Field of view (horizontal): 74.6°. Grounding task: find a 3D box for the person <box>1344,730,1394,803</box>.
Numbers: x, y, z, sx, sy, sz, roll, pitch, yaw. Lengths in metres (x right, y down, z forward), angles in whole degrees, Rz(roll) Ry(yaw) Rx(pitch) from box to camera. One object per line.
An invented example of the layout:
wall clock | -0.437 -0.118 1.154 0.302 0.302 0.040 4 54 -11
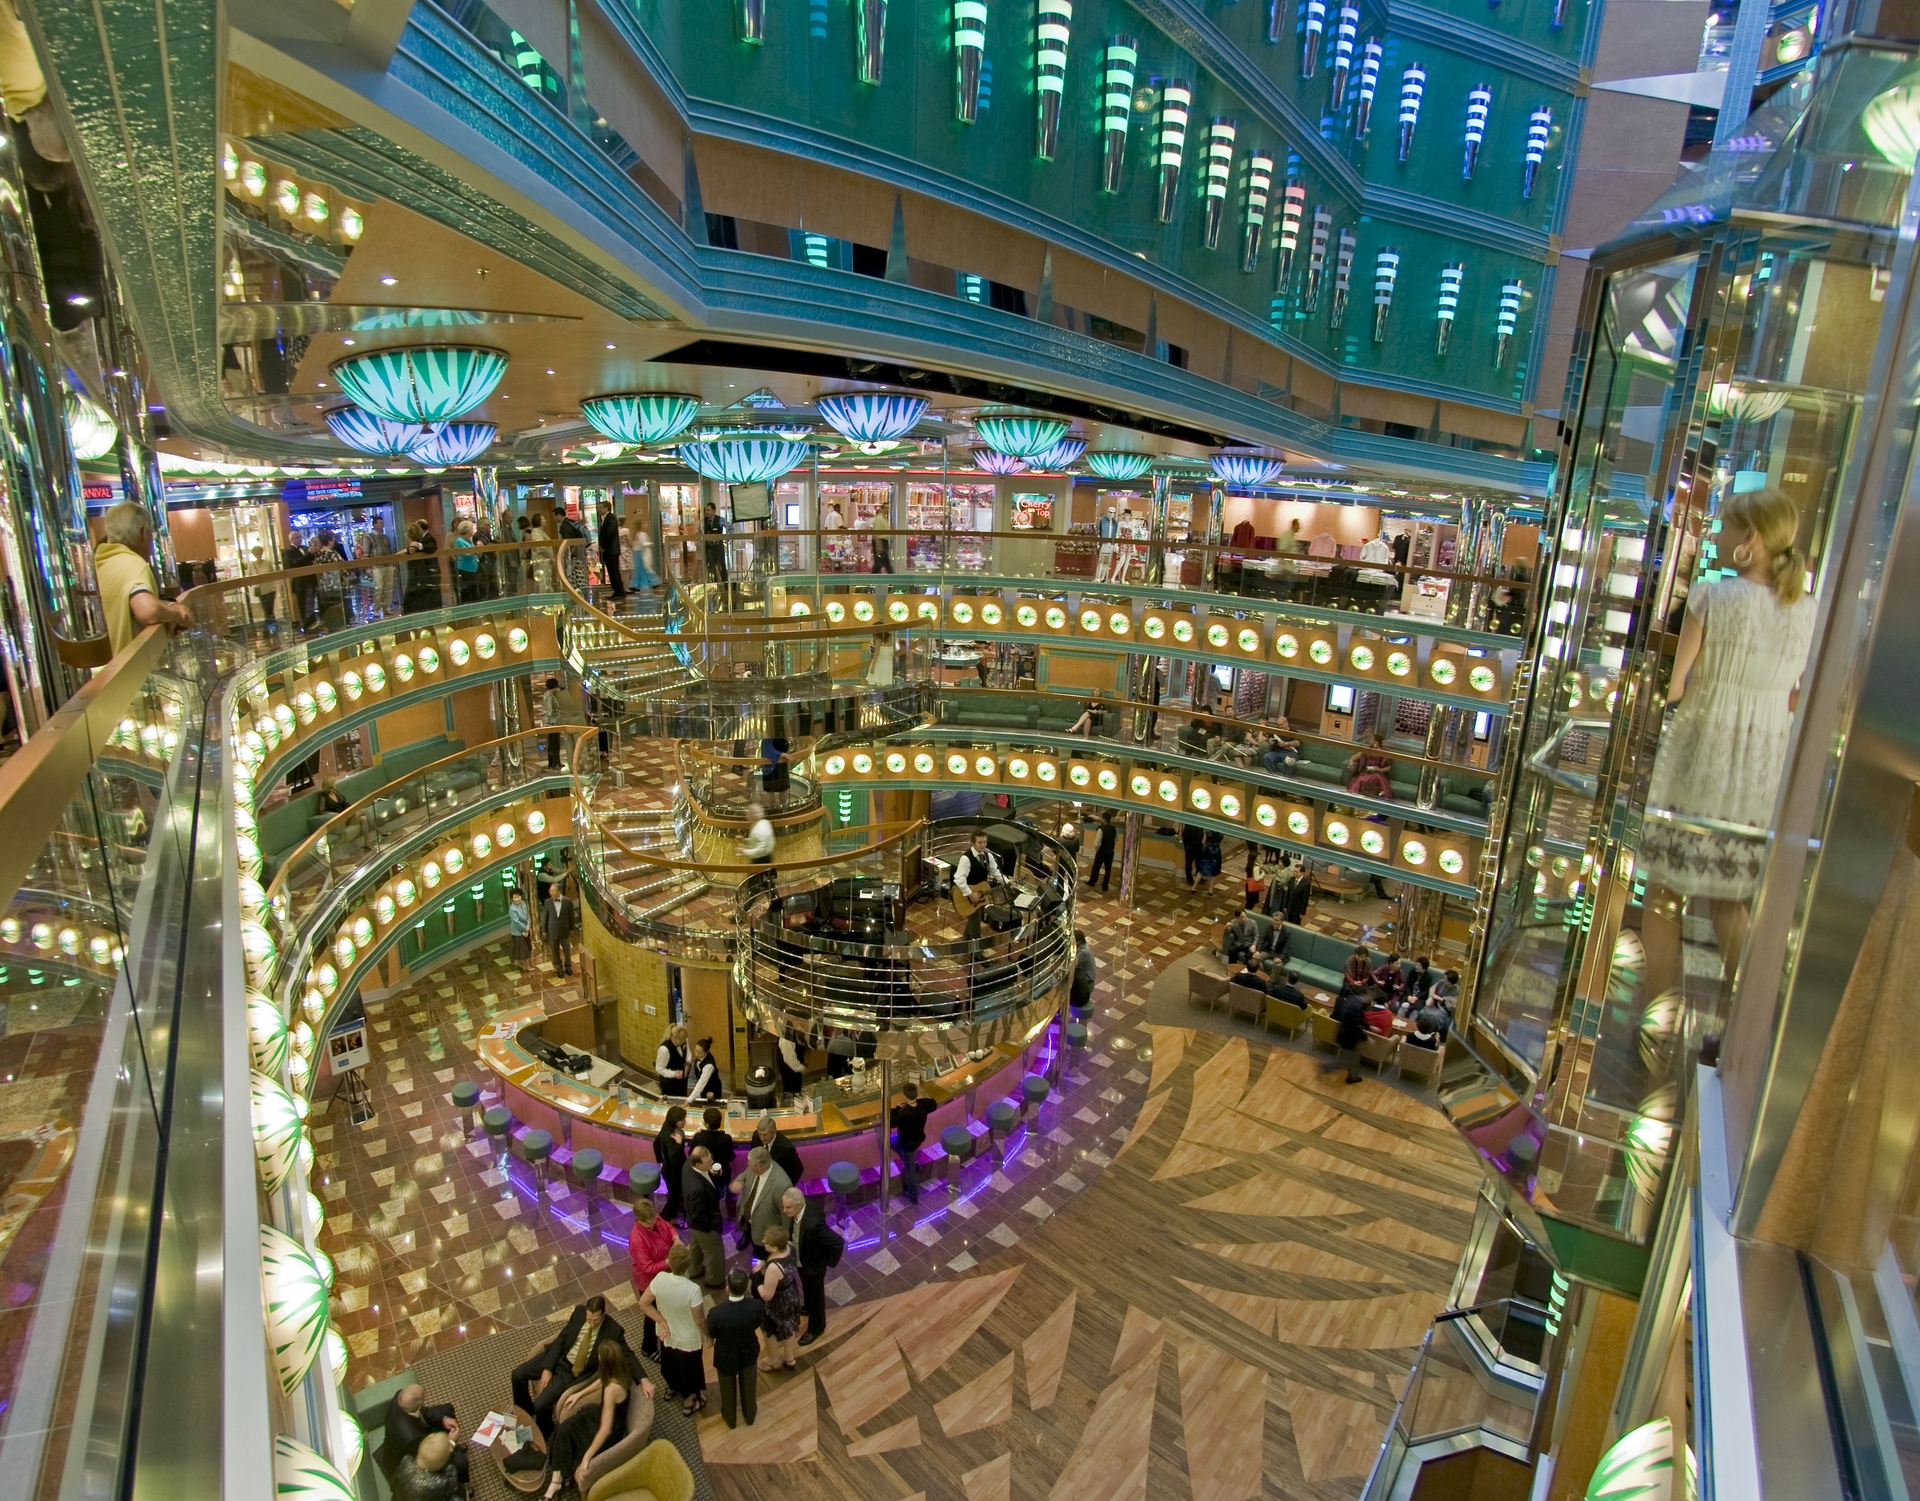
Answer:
person | 5.292 0.229 16.172 0.510 0.583 0.741 4 14 17

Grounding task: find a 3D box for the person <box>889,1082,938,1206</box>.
person | -0.446 3.417 11.230 0.375 1.170 0.662 -1 13 -3

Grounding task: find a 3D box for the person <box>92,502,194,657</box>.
person | -3.374 -0.729 5.181 0.301 0.533 0.907 -8 16 -31
